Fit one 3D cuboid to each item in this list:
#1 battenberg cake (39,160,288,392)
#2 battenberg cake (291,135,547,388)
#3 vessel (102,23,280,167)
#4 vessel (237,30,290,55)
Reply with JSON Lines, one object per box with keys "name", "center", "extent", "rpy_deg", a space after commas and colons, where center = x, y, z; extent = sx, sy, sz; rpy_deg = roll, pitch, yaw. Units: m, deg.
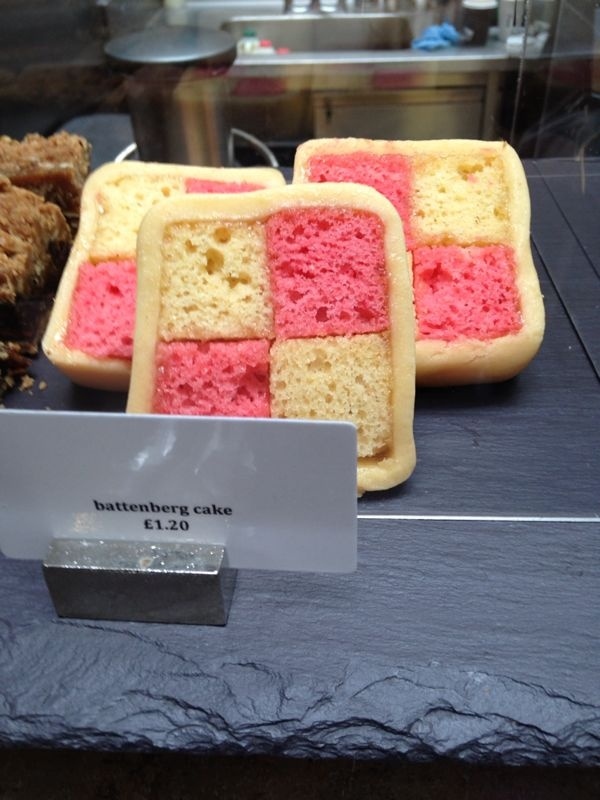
{"name": "battenberg cake", "center": [-0.195, -0.147, 0.968], "extent": [0.325, 0.081, 0.245], "rpy_deg": [3, 75, 1]}
{"name": "battenberg cake", "center": [0.180, -0.153, 0.934], "extent": [0.351, 0.082, 0.265], "rpy_deg": [0, 76, 0]}
{"name": "vessel", "center": [-0.102, -0.310, 0.925], "extent": [0.183, 0.142, 0.137], "rpy_deg": [-8, 30, -4]}
{"name": "vessel", "center": [-0.045, -0.364, 0.847], "extent": [0.037, 0.011, 0.031], "rpy_deg": [1, 53, -1]}
